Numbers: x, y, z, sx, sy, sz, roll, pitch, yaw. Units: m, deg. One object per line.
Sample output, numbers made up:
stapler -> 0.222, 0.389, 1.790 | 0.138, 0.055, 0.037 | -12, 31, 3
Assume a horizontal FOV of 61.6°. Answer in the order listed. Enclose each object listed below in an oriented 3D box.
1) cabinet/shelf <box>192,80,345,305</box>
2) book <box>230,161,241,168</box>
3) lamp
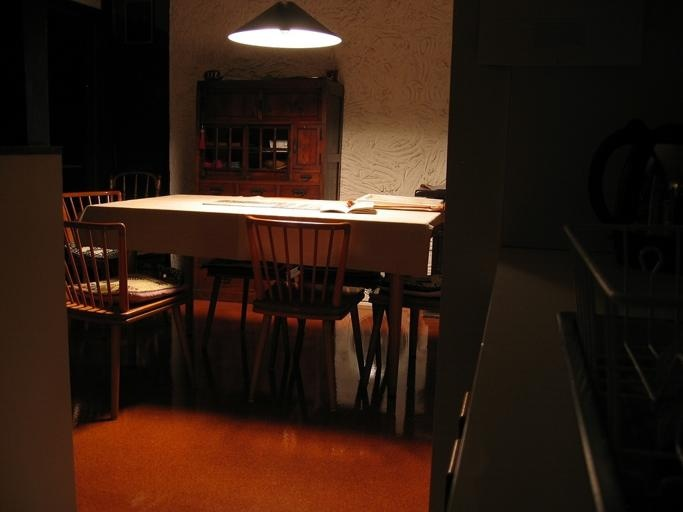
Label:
cabinet/shelf -> -0.601, -0.504, 4.718 | 1.041, 1.817, 0.566 | -1, -6, 12
book -> -0.866, -0.743, 4.694 | 0.060, 0.047, 0.066 | 2, 9, 16
lamp -> -0.285, -1.219, 3.040 | 0.516, 0.178, 0.479 | -7, 14, -36
